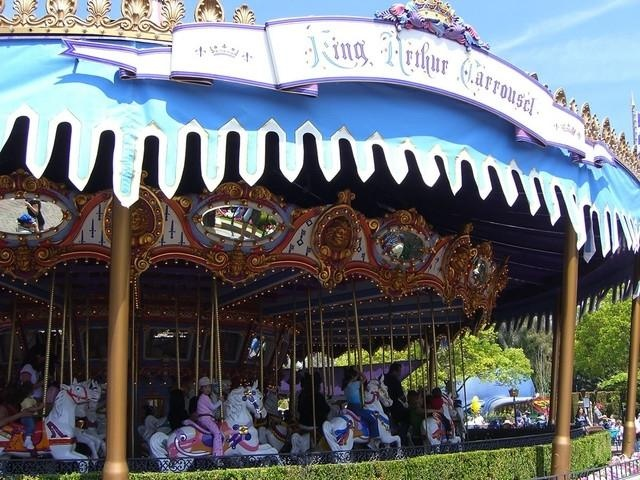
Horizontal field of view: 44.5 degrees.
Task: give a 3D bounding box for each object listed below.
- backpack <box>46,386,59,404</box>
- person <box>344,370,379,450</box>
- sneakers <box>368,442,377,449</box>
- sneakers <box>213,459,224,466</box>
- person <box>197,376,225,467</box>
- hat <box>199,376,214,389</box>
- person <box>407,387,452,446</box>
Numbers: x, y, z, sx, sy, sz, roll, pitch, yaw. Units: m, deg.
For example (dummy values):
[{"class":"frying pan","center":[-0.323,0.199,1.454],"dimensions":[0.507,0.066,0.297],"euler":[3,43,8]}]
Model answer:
[{"class":"backpack","center":[-4.688,2.676,13.605],"dimensions":[0.200,0.303,0.920],"euler":[6,-17,-19]},{"class":"person","center":[0.769,3.135,14.933],"dimensions":[0.657,1.527,1.280],"euler":[0,-15,2]},{"class":"sneakers","center":[1.001,3.843,14.738],"dimensions":[0.203,0.136,0.366],"euler":[0,-16,3]},{"class":"sneakers","center":[-1.676,3.675,12.898],"dimensions":[0.073,0.130,0.199],"euler":[-10,-19,35]},{"class":"person","center":[-1.899,3.051,13.457],"dimensions":[0.495,1.380,1.239],"euler":[3,-15,-7]},{"class":"hat","center":[-2.018,2.457,13.587],"dimensions":[0.181,0.098,0.258],"euler":[-6,-19,-21]},{"class":"person","center":[2.263,3.612,16.177],"dimensions":[0.876,1.169,1.410],"euler":[-1,-15,6]}]
